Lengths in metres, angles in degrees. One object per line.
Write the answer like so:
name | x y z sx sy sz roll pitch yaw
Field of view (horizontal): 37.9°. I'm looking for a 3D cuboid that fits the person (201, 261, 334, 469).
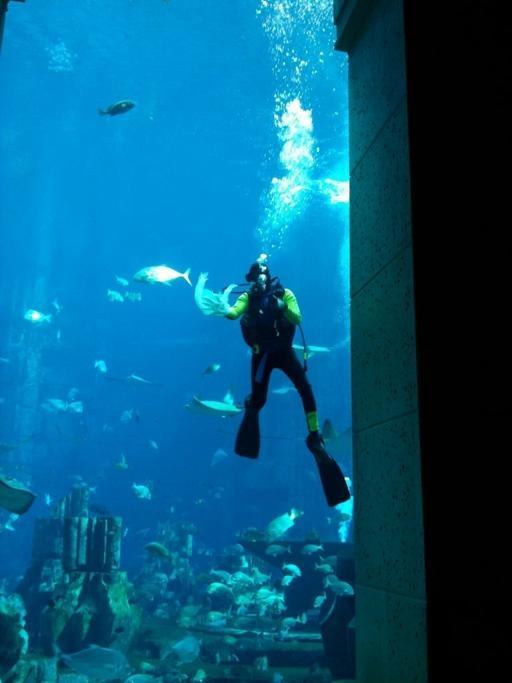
person | 0.073 0.062 5.905 0.731 1.762 0.867 3 1 0
